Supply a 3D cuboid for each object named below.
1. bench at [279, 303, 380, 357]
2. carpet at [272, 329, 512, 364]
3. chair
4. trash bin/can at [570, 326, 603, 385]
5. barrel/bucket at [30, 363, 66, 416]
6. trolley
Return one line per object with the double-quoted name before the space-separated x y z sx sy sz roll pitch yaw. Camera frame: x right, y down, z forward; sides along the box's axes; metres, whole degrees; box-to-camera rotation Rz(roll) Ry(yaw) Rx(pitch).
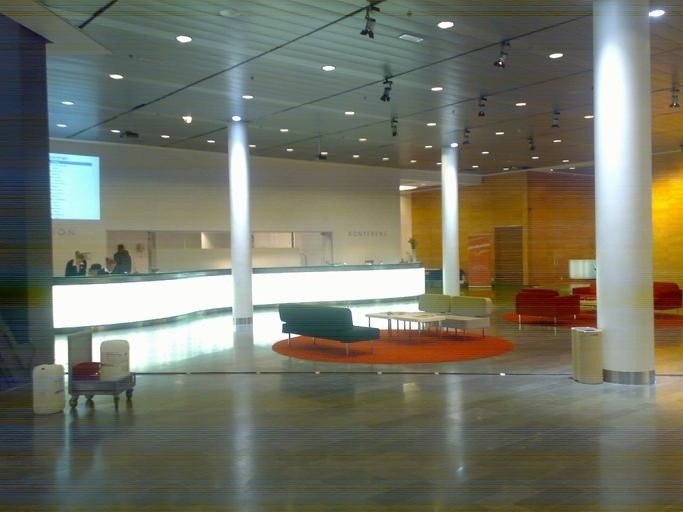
"bench" -0.143 0.964 8.957 1.754 0.529 0.854 0 1 45
"carpet" 0.815 1.303 8.784 3.310 0.158 2.043 -2 6 -7
"chair" -2.557 1.208 6.673 0.662 0.488 0.776 5 5 0
"trash bin/can" 2.762 1.108 6.982 0.318 0.575 0.447 -1 9 18
"barrel/bucket" -2.929 1.326 6.236 0.267 0.466 0.266 -4 9 1
"trolley" -2.568 1.215 6.679 0.657 0.501 0.715 3 -1 -8
